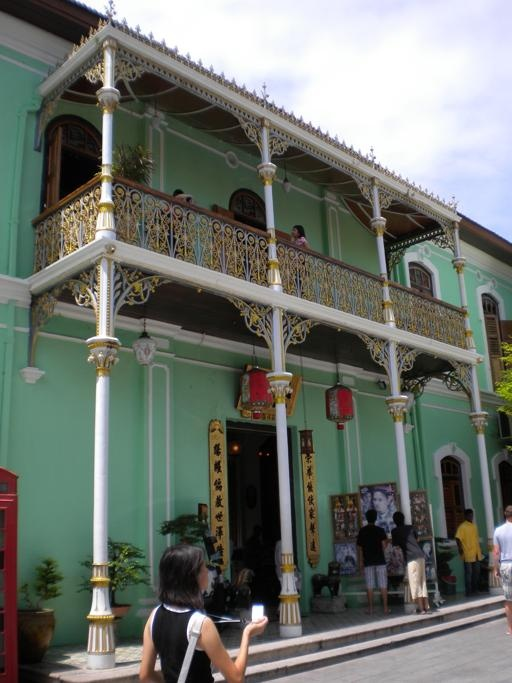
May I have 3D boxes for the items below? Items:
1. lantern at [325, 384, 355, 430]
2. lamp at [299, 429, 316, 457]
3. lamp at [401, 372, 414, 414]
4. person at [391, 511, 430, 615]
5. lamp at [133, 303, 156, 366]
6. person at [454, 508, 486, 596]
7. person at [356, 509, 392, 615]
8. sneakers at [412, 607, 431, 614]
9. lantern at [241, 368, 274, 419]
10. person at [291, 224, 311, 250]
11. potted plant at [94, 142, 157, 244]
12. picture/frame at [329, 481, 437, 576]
[{"bbox_3d":[1.351,1.026,11.657,0.470,0.632,0.343,-11,-16,21],"label":"lantern"},{"bbox_3d":[0.889,1.750,11.968,0.282,0.440,0.177,7,-19,-40],"label":"lamp"},{"bbox_3d":[3.092,1.071,14.079,0.253,0.680,1.181,-8,-14,11],"label":"lamp"},{"bbox_3d":[2.141,3.075,9.683,0.403,1.351,0.789,-8,-15,11],"label":"person"},{"bbox_3d":[-1.560,-0.040,9.583,0.365,0.757,0.352,-14,-21,29],"label":"lamp"},{"bbox_3d":[3.865,3.821,12.600,0.393,1.469,0.822,-9,-15,14],"label":"person"},{"bbox_3d":[1.760,3.290,10.379,0.439,1.503,1.291,-7,-14,8],"label":"person"},{"bbox_3d":[2.284,3.703,9.578,0.087,0.092,0.237,8,-16,-8],"label":"sneakers"},{"bbox_3d":[-0.019,0.776,10.506,0.448,0.775,0.698,-17,-25,36],"label":"lantern"},{"bbox_3d":[0.725,-1.742,11.684,0.323,0.866,0.354,2,-51,5],"label":"person"},{"bbox_3d":[-1.601,-2.077,8.472,0.593,0.710,0.608,-13,23,-14],"label":"potted plant"},{"bbox_3d":[1.905,2.941,10.702,1.641,1.331,0.130,-23,-36,38],"label":"picture/frame"}]
